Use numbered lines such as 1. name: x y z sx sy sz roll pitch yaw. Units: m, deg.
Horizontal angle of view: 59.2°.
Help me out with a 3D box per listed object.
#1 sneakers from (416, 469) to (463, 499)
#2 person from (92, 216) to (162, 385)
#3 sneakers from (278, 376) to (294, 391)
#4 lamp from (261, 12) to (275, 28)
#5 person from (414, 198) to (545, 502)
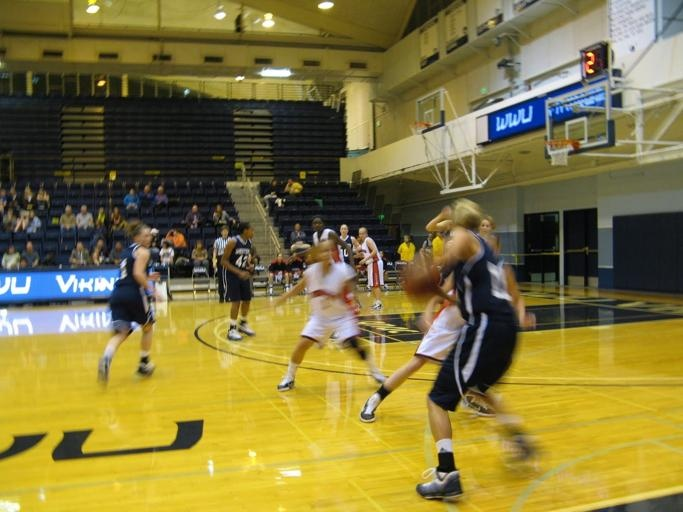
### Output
1. sneakers: 0.713 1.660 4.422 0.381 0.287 0.154 1 -5 12
2. person: -2.306 0.507 6.454 0.617 1.749 0.586 -4 7 -22
3. sneakers: -0.581 1.322 6.138 0.084 0.098 0.201 -5 -11 35
4. lamp: -2.462 -8.052 20.340 0.402 0.421 0.388 -1 -1 -3
5. person: 1.037 0.638 4.514 0.642 2.130 1.187 5 9 43
